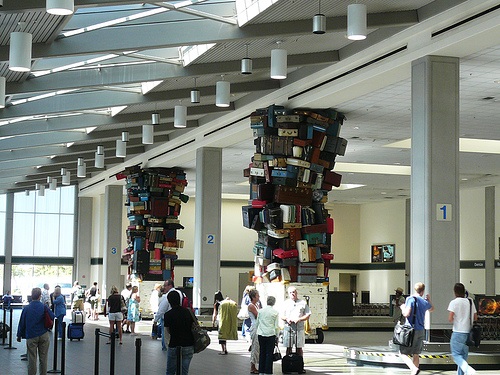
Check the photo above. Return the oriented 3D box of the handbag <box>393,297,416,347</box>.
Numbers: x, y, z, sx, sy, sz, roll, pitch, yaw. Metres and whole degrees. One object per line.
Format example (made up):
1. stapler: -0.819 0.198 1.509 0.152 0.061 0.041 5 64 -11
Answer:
1. handbag: 3.202 2.815 14.424 0.343 1.025 0.669 2 -7 -4

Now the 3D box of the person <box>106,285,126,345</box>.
1. person: -3.954 3.749 20.230 0.472 1.653 1.142 3 -7 -10

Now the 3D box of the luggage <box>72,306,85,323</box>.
1. luggage: -5.185 3.892 20.851 0.440 0.413 0.337 0 0 -14

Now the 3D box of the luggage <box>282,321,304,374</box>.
1. luggage: 0.976 3.690 15.665 0.492 1.011 0.845 1 -7 4
